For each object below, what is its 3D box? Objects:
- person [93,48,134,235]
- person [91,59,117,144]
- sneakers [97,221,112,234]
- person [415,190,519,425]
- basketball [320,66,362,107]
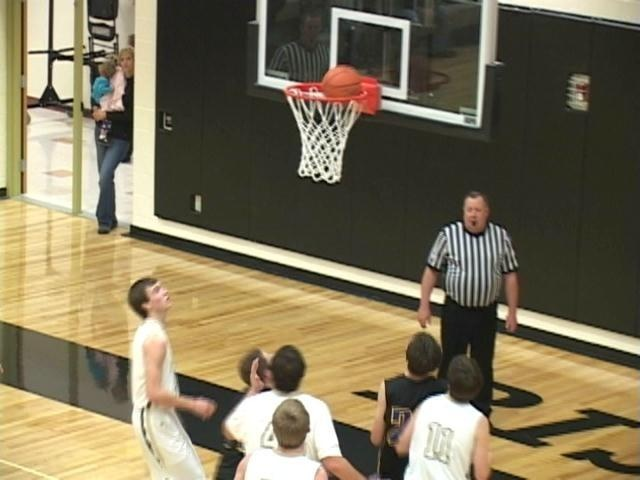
[{"bbox_3d":[-2.505,-1.219,9.308,0.457,2.207,0.589,0,10,-18],"label":"person"},{"bbox_3d":[-2.644,-1.824,9.383,0.232,0.807,0.269,31,29,29],"label":"person"},{"bbox_3d":[-2.588,-0.131,9.205,0.072,0.105,0.233,0,8,-1],"label":"sneakers"},{"bbox_3d":[1.141,0.497,5.768,0.693,1.854,0.496,-1,25,6],"label":"person"},{"bbox_3d":[0.180,-1.328,6.545,0.307,0.279,0.259,-9,29,2],"label":"basketball"}]
